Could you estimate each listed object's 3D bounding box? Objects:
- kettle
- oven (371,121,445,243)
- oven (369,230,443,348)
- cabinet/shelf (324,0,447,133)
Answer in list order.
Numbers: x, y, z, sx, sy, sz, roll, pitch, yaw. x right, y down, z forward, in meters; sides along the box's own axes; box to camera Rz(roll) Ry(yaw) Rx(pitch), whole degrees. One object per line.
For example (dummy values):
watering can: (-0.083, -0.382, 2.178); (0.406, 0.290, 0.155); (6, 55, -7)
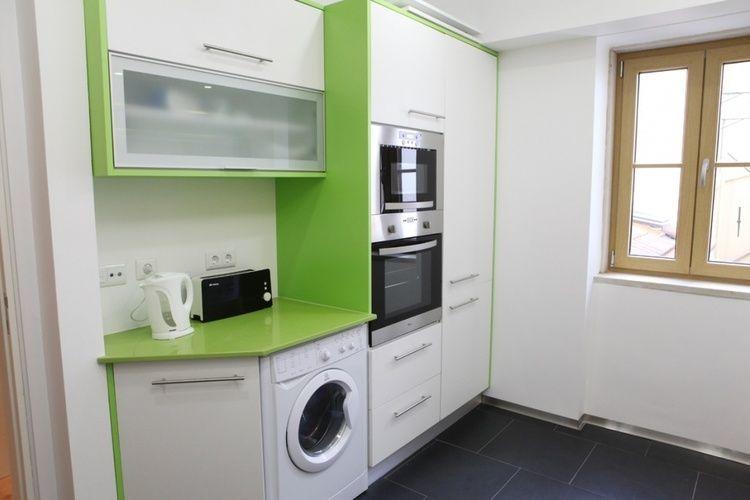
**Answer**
kettle: (-1.147, 0.304, 2.972); (0.239, 0.341, 0.200); (-5, 10, -7)
oven: (0.091, -0.423, 3.514); (0.682, 0.672, 0.485); (-6, 9, -39)
oven: (0.113, 0.230, 3.539); (0.448, 0.609, 0.655); (8, 13, 43)
cabinet/shelf: (0.035, -1.115, 3.227); (0.270, 0.609, 0.832); (10, 14, 41)
